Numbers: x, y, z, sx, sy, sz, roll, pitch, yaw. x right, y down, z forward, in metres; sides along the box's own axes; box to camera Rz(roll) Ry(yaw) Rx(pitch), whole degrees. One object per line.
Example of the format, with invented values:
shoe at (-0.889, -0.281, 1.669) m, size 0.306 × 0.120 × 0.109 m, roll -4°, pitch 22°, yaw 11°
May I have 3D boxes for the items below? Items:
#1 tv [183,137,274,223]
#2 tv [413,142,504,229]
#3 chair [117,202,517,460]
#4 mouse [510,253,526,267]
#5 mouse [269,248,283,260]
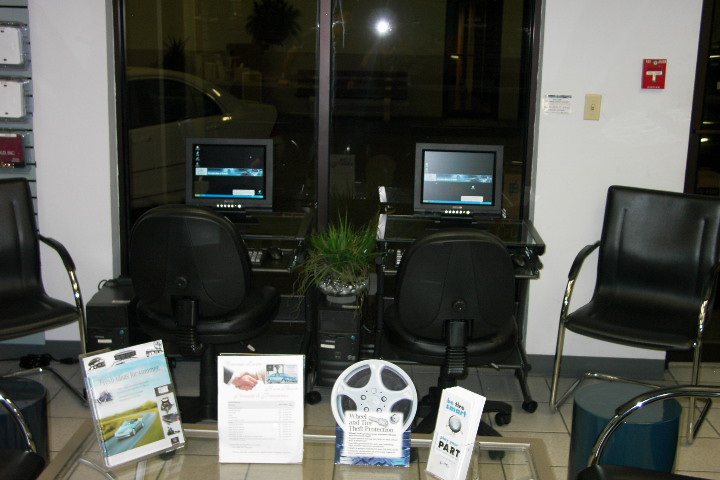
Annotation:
tv at (-0.922, -0.496, 4.363) m, size 0.595 × 0.572 × 0.313 m, roll -1°, pitch 31°, yaw -15°
tv at (0.667, -0.362, 4.316) m, size 0.598 × 0.507 × 0.323 m, roll 3°, pitch -15°, yaw 2°
chair at (-0.480, 0.277, 3.849) m, size 1.130 × 1.523 × 1.497 m, roll 1°, pitch 17°, yaw -1°
mouse at (0.950, 0.124, 3.763) m, size 0.084 × 0.087 × 0.063 m, roll -12°, pitch -10°, yaw 1°
mouse at (-0.522, 0.085, 3.829) m, size 0.059 × 0.063 × 0.068 m, roll 0°, pitch -5°, yaw -5°
